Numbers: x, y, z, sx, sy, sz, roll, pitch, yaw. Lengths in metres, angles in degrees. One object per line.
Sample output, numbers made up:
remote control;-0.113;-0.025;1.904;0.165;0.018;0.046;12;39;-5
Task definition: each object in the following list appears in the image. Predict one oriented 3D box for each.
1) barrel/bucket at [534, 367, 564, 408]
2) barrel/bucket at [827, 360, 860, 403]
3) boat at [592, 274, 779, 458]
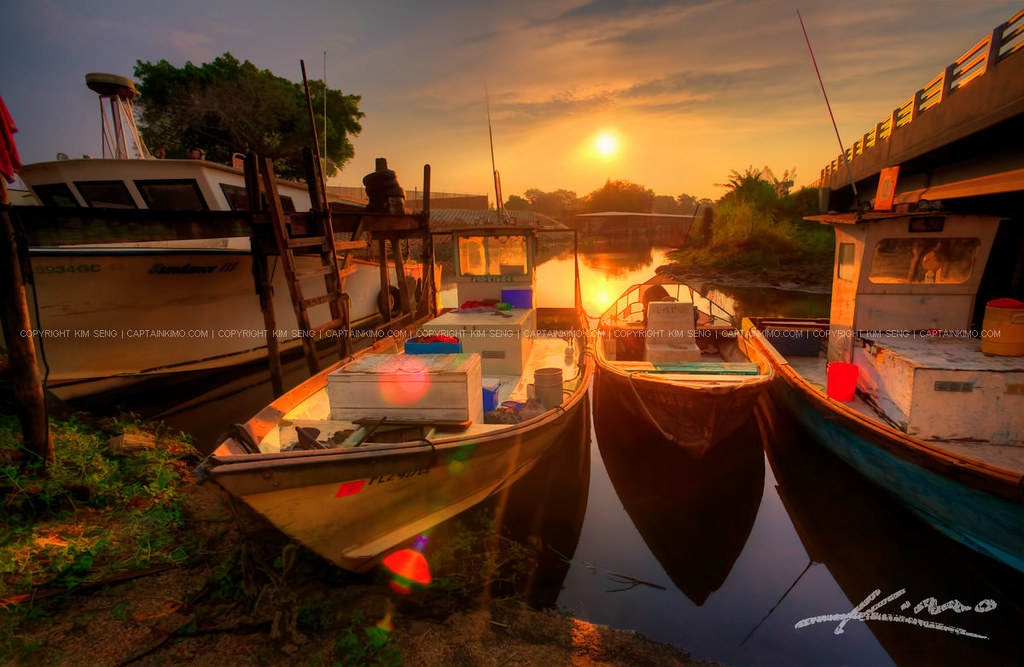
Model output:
barrel/bucket;0.684;0.937;9.745;0.583;0.644;0.597;1;4;0
barrel/bucket;5.752;0.837;9.853;0.583;0.654;0.629;1;11;0
boat;3.902;0.507;13.374;3.533;2.976;9.454;0;12;9
